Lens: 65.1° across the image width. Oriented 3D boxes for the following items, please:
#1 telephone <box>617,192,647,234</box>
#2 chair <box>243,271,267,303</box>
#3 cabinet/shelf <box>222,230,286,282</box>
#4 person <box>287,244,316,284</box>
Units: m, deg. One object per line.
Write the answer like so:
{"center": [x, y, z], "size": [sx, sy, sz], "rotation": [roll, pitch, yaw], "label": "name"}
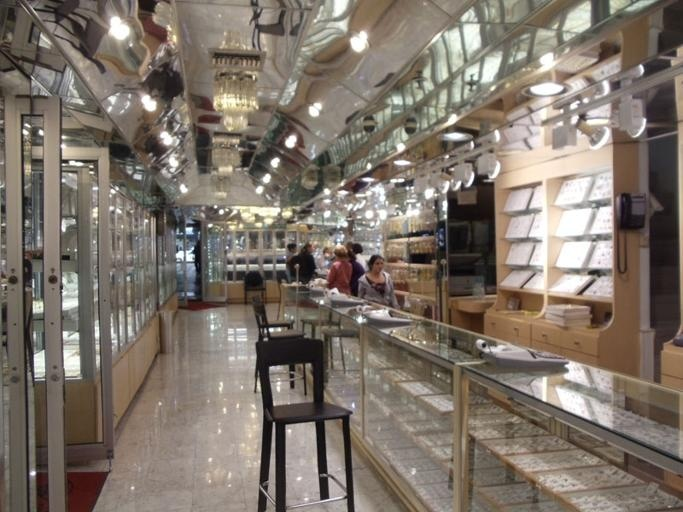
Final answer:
{"center": [2.646, -0.403, 4.871], "size": [0.271, 0.389, 0.303], "rotation": [1, -3, 0], "label": "telephone"}
{"center": [-2.572, 0.942, 15.937], "size": [0.645, 0.978, 0.726], "rotation": [-2, 3, -10], "label": "chair"}
{"center": [-2.585, -0.023, 16.194], "size": [1.727, 1.500, 0.411], "rotation": [-1, 3, -1], "label": "cabinet/shelf"}
{"center": [-0.812, 0.149, 11.314], "size": [0.535, 0.818, 1.142], "rotation": [-2, 3, -4], "label": "person"}
